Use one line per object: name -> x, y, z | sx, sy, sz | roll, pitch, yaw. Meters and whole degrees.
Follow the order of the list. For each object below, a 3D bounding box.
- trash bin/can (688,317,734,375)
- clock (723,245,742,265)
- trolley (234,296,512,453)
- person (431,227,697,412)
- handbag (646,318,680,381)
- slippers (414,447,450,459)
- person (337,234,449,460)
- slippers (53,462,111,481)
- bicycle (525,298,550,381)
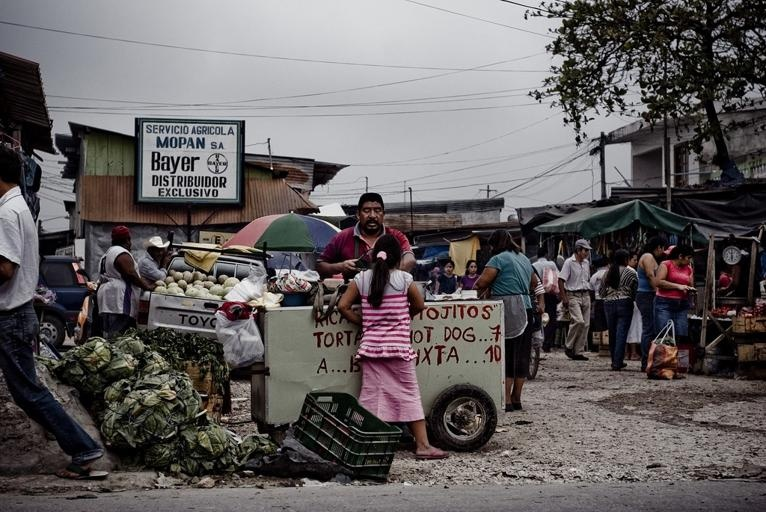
trash bin/can -> 6.140, 1.677, 15.098 | 0.935, 1.317, 0.945 | 1, 3, 38
clock -> 6.598, -0.021, 14.990 | 0.326, 0.293, 0.294 | -2, 1, 24
trolley -> 0.141, 1.745, 10.440 | 3.100, 2.119, 2.097 | 0, -2, 5
person -> 1.795, 0.852, 11.956 | 0.976, 2.774, 1.115 | 0, 0, 35
handbag -> 5.030, 1.656, 14.193 | 0.467, 1.071, 0.533 | -4, -2, 36
slippers -> 0.573, 2.306, 9.282 | 0.281, 0.109, 0.156 | -1, 1, 1
person -> 0.082, 1.066, 9.264 | 0.999, 2.416, 0.303 | -2, 1, -4
slippers -> -3.063, 2.214, 8.157 | 0.383, 0.108, 0.220 | 6, 1, -1
bicycle -> 2.543, 1.400, 13.109 | 0.717, 0.956, 1.518 | 0, -4, 3
